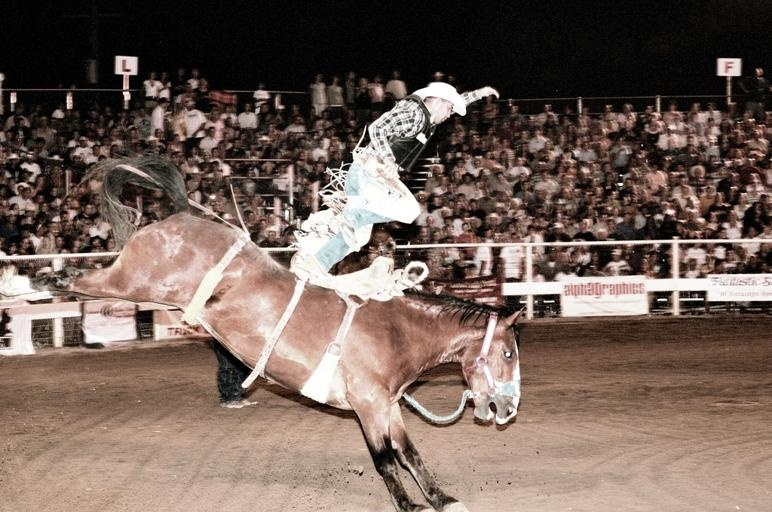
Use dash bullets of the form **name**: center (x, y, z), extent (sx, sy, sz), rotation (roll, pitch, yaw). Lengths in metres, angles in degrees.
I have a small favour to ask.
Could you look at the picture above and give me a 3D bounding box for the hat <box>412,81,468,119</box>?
- **hat**: center (0.730, -1.811, 11.393), extent (0.523, 0.121, 0.519), rotation (12, -3, 44)
